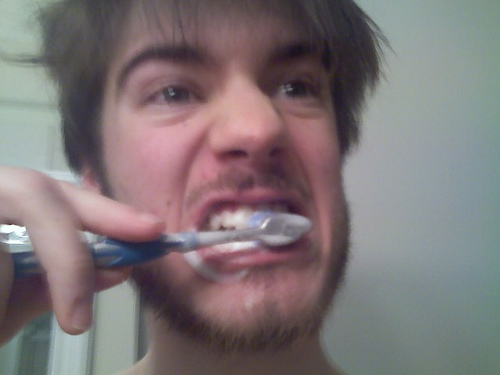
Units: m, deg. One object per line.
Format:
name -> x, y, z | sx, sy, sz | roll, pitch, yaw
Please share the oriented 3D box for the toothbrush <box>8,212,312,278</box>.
toothbrush -> -0.168, 0.104, 1.072 | 0.440, 0.060, 0.050 | -8, 26, -13
